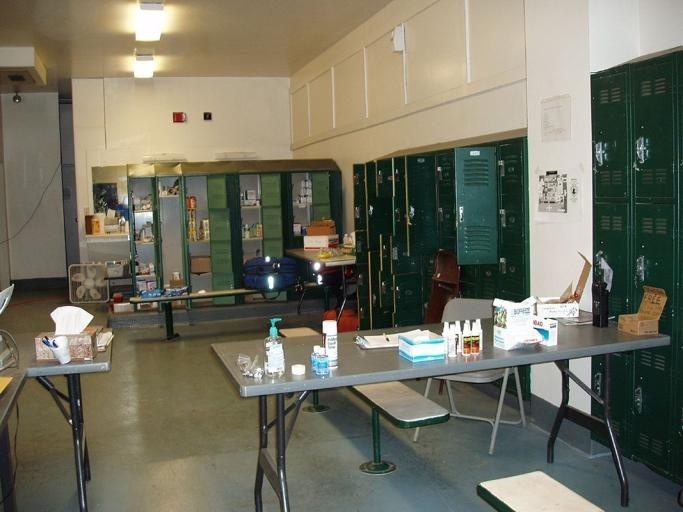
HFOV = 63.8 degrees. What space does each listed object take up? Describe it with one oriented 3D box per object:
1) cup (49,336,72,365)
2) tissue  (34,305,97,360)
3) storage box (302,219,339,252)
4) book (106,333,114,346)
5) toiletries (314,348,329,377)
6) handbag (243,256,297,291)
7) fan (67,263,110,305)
[{"bbox_3d":[-1.949,0.661,3.832,0.123,0.197,0.109,-8,11,-33],"label":"cup"},{"bbox_3d":[-1.978,0.581,3.992,0.407,0.416,0.394,0,0,-15],"label":"tissue "},{"bbox_3d":[-0.308,-0.321,8.994,0.488,0.518,0.491,0,0,23],"label":"storage box"},{"bbox_3d":[-1.785,0.663,4.278,0.016,0.067,0.061,39,-30,-29],"label":"book"},{"bbox_3d":[-0.124,0.673,3.475,0.099,0.132,0.151,-2,9,-3],"label":"toiletries"},{"bbox_3d":[-1.152,0.299,8.932,0.606,0.451,0.612,-1,-3,-18],"label":"handbag"},{"bbox_3d":[-4.909,0.554,10.577,0.763,0.817,0.258,1,1,7],"label":"fan"}]
